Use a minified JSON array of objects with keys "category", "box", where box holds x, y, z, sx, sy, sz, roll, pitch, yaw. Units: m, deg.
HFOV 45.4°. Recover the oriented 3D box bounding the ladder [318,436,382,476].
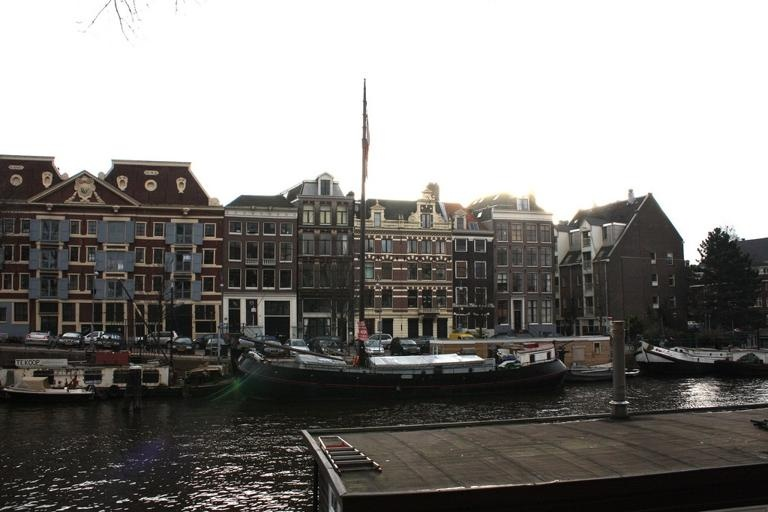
[{"category":"ladder","box":[-1.668,7.771,36.118,1.673,0.464,4.063,0,5,-19]}]
